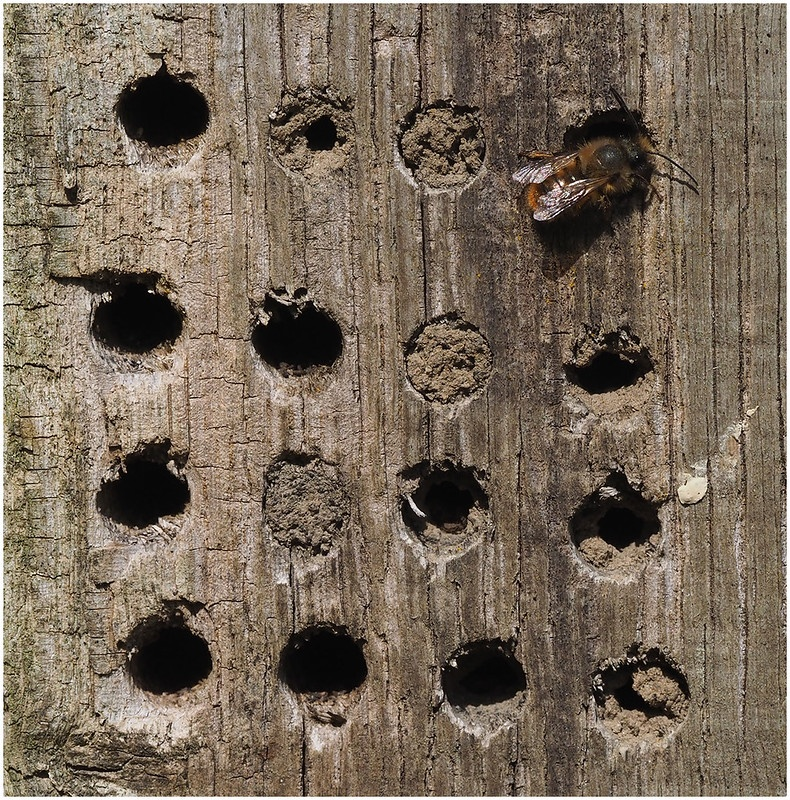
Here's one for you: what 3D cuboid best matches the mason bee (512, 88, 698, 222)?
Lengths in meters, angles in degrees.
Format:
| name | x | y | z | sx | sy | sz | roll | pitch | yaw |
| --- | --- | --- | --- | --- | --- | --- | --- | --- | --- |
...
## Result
| name | x | y | z | sx | sy | sz | roll | pitch | yaw |
| --- | --- | --- | --- | --- | --- | --- | --- | --- | --- |
| mason bee | 0.383 | -0.437 | 5.248 | 0.292 | 0.257 | 0.098 | -18 | -21 | -1 |
